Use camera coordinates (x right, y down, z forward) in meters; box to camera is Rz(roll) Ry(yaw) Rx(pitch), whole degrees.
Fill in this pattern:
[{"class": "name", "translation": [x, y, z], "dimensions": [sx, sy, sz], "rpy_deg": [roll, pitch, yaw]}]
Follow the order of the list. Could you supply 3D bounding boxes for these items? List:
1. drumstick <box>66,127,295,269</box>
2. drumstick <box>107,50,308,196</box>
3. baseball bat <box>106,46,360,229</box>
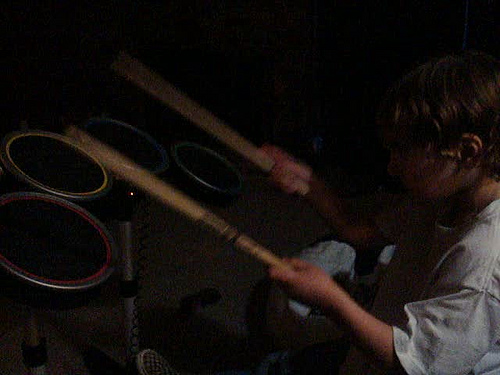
[{"class": "drumstick", "translation": [-0.271, 0.034, 1.956], "dimensions": [0.076, 0.757, 0.074], "rpy_deg": [-53, 11, 17]}, {"class": "drumstick", "translation": [-0.176, -0.226, 1.971], "dimensions": [0.104, 0.787, 0.034], "rpy_deg": [-56, 13, -19]}, {"class": "baseball bat", "translation": [-0.096, -0.185, 1.984], "dimensions": [0.045, 0.960, 0.125], "rpy_deg": [-57, 3, -37]}]
